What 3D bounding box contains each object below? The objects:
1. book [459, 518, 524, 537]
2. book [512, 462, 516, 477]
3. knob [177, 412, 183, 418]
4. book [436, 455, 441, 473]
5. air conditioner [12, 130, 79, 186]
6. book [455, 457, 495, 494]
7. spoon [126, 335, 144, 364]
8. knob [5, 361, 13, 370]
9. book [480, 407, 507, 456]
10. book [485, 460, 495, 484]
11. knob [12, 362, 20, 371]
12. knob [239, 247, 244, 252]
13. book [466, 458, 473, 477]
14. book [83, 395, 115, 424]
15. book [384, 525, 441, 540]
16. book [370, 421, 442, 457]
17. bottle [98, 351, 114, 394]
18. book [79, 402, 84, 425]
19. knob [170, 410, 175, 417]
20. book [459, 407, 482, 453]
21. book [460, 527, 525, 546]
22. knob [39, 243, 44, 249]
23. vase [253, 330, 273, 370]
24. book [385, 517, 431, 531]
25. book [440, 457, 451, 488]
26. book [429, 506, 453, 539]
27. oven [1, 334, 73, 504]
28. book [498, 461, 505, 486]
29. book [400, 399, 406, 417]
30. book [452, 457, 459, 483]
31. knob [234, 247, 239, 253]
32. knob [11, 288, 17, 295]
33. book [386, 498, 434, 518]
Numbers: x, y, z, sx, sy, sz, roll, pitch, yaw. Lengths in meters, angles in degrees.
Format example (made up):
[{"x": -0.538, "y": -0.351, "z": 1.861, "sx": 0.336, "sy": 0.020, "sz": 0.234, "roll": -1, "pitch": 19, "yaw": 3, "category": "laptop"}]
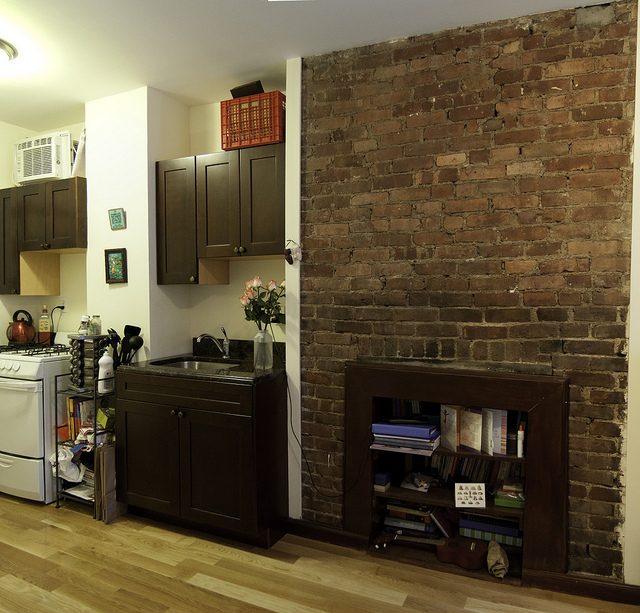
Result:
[{"x": 0.926, "y": 1.188, "z": 3.127, "sx": 0.157, "sy": 0.033, "sz": 0.160, "roll": 4, "pitch": -8, "yaw": 30, "category": "book"}, {"x": 1.040, "y": 0.875, "z": 3.140, "sx": 0.017, "sy": 0.076, "sz": 0.074, "roll": 9, "pitch": 1, "yaw": 17, "category": "book"}, {"x": -0.796, "y": 0.619, "z": 3.310, "sx": 0.027, "sy": 0.026, "sz": 0.027, "roll": -2, "pitch": 8, "yaw": -27, "category": "knob"}, {"x": 0.667, "y": 0.889, "z": 3.313, "sx": 0.022, "sy": 0.077, "sz": 0.038, "roll": 3, "pitch": 10, "yaw": 18, "category": "book"}, {"x": -1.964, "y": -1.024, "z": 4.209, "sx": 0.455, "sy": 0.362, "sz": 0.243, "roll": -5, "pitch": -1, "yaw": 14, "category": "air conditioner"}, {"x": 0.837, "y": 0.909, "z": 3.190, "sx": 0.179, "sy": 0.192, "sz": 0.045, "roll": 8, "pitch": 1, "yaw": 27, "category": "book"}, {"x": -1.198, "y": 0.263, "z": 3.786, "sx": 0.067, "sy": 0.228, "sz": 0.076, "roll": 19, "pitch": 21, "yaw": -11, "category": "spoon"}, {"x": -2.016, "y": 0.389, "z": 3.774, "sx": 0.040, "sy": 0.052, "sz": 0.017, "roll": 0, "pitch": -3, "yaw": 1, "category": "knob"}, {"x": 0.888, "y": 0.637, "z": 3.095, "sx": 0.177, "sy": 0.249, "sz": 0.248, "roll": 0, "pitch": -1, "yaw": 14, "category": "book"}, {"x": 0.915, "y": 0.902, "z": 3.164, "sx": 0.046, "sy": 0.125, "sz": 0.023, "roll": -7, "pitch": 11, "yaw": -31, "category": "book"}, {"x": -1.957, "y": 0.391, "z": 3.756, "sx": 0.056, "sy": 0.049, "sz": 0.023, "roll": 4, "pitch": 11, "yaw": 23, "category": "knob"}, {"x": -0.478, "y": -0.344, "z": 3.525, "sx": 0.034, "sy": 0.026, "sz": 0.016, "roll": 6, "pitch": 12, "yaw": 33, "category": "knob"}, {"x": 0.817, "y": 0.890, "z": 3.203, "sx": 0.036, "sy": 0.097, "sz": 0.011, "roll": -3, "pitch": 10, "yaw": -14, "category": "book"}, {"x": -1.413, "y": 0.662, "z": 3.758, "sx": 0.223, "sy": 0.166, "sz": 0.082, "roll": 0, "pitch": 10, "yaw": 5, "category": "book"}, {"x": 0.497, "y": 1.261, "z": 3.239, "sx": 0.296, "sy": 0.051, "sz": 0.050, "roll": 2, "pitch": 10, "yaw": 14, "category": "book"}, {"x": 0.438, "y": 0.696, "z": 3.087, "sx": 0.220, "sy": 0.087, "sz": 0.233, "roll": 0, "pitch": -4, "yaw": 26, "category": "book"}, {"x": -1.344, "y": 0.421, "z": 3.675, "sx": 0.083, "sy": 0.244, "sz": 0.149, "roll": -2, "pitch": 10, "yaw": -5, "category": "bottle"}, {"x": -1.531, "y": 0.691, "z": 3.748, "sx": 0.023, "sy": 0.098, "sz": 0.093, "roll": -3, "pitch": -7, "yaw": -12, "category": "book"}, {"x": -0.845, "y": 0.615, "z": 3.336, "sx": 0.036, "sy": 0.038, "sz": 0.020, "roll": 3, "pitch": 5, "yaw": 38, "category": "knob"}, {"x": 0.775, "y": 0.644, "z": 3.032, "sx": 0.125, "sy": 0.212, "sz": 0.061, "roll": 6, "pitch": 12, "yaw": 35, "category": "book"}, {"x": 0.928, "y": 1.235, "z": 3.115, "sx": 0.158, "sy": 0.039, "sz": 0.150, "roll": 2, "pitch": -4, "yaw": 34, "category": "book"}, {"x": -1.978, "y": -0.425, "z": 4.132, "sx": 0.040, "sy": 0.041, "sz": 0.022, "roll": 4, "pitch": 5, "yaw": 33, "category": "knob"}, {"x": -0.337, "y": 0.255, "z": 3.442, "sx": 0.112, "sy": 0.217, "sz": 0.151, "roll": -2, "pitch": 10, "yaw": -7, "category": "vase"}, {"x": 0.483, "y": 1.218, "z": 3.253, "sx": 0.256, "sy": 0.036, "sz": 0.025, "roll": 3, "pitch": 11, "yaw": 20, "category": "book"}, {"x": 0.686, "y": 0.920, "z": 3.232, "sx": 0.036, "sy": 0.130, "sz": 0.126, "roll": 3, "pitch": 10, "yaw": 19, "category": "book"}, {"x": 0.675, "y": 1.189, "z": 3.260, "sx": 0.120, "sy": 0.123, "sz": 0.167, "roll": 3, "pitch": 11, "yaw": 20, "category": "book"}, {"x": -1.897, "y": 0.791, "z": 3.834, "sx": 0.418, "sy": 0.947, "sz": 0.333, "roll": 2, "pitch": 10, "yaw": 14, "category": "oven"}, {"x": 0.974, "y": 0.905, "z": 3.155, "sx": 0.017, "sy": 0.111, "sz": 0.052, "roll": 6, "pitch": 12, "yaw": 34, "category": "book"}, {"x": 0.466, "y": 0.582, "z": 3.299, "sx": 0.018, "sy": 0.071, "sz": 0.072, "roll": 2, "pitch": 0, "yaw": -2, "category": "book"}, {"x": 0.748, "y": 0.912, "z": 3.241, "sx": 0.019, "sy": 0.131, "sz": 0.051, "roll": 8, "pitch": 13, "yaw": 41, "category": "book"}, {"x": -0.509, "y": -0.342, "z": 3.543, "sx": 0.013, "sy": 0.034, "sz": 0.045, "roll": -8, "pitch": 13, "yaw": -38, "category": "knob"}, {"x": -2.244, "y": -0.109, "z": 4.288, "sx": 0.048, "sy": 0.047, "sz": 0.025, "roll": 2, "pitch": 3, "yaw": 22, "category": "knob"}, {"x": 0.493, "y": 1.153, "z": 3.284, "sx": 0.268, "sy": 0.075, "sz": 0.090, "roll": 4, "pitch": 11, "yaw": 26, "category": "book"}]
